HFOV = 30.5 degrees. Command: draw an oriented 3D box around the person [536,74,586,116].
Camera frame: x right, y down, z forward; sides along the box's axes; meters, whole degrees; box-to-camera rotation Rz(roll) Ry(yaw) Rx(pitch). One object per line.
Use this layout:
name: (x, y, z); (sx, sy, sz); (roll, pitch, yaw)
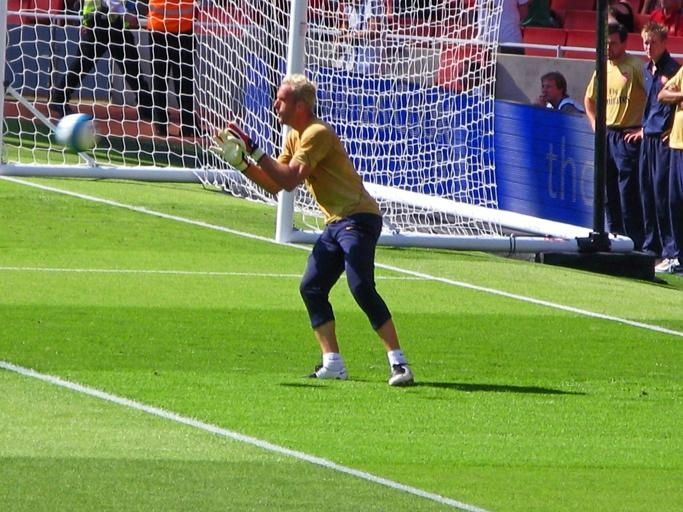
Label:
person: (2.513, -1.880, 14.590); (0.455, 0.482, 0.874); (0, 8, -15)

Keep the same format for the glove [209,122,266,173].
glove: (-0.713, -0.723, 8.521); (0.361, 0.286, 0.121); (44, -15, -13)

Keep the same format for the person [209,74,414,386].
person: (-0.147, -0.189, 8.661); (1.402, 2.064, 0.395); (4, 3, -3)

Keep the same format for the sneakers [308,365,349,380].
sneakers: (-0.088, 0.799, 8.689); (0.288, 0.115, 0.094); (3, 0, -4)

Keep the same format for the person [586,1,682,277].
person: (3.248, -1.206, 13.504); (0.955, 1.824, 0.920); (4, 3, 11)

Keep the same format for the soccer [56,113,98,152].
soccer: (-2.345, -1.068, 10.901); (0.365, 0.329, 0.352); (6, 0, -2)
